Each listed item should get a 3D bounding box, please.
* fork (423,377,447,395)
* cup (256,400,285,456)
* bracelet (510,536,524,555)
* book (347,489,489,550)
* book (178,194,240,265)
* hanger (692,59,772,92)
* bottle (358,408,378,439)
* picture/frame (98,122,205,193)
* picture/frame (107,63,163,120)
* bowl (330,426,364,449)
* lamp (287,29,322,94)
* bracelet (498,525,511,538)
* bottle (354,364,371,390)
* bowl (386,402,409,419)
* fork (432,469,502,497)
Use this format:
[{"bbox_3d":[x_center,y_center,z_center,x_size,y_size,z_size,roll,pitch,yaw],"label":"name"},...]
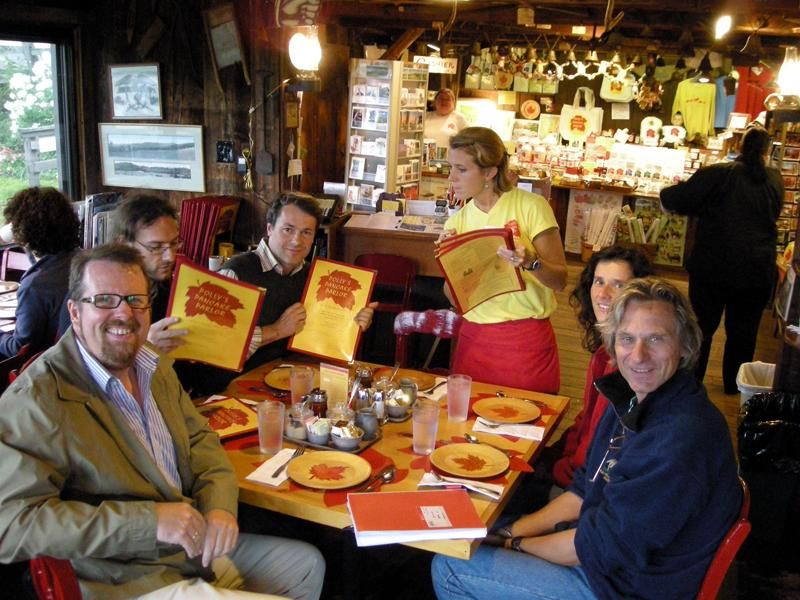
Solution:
[{"bbox_3d":[0.170,0.419,2.959,0.044,0.021,0.144,17,18,16],"label":"fork"},{"bbox_3d":[-0.509,0.509,2.381,0.147,0.170,0.144,1,-1,0],"label":"cup"},{"bbox_3d":[0.428,0.911,2.254,0.057,0.055,0.040,4,5,28],"label":"bracelet"},{"bbox_3d":[0.046,0.706,1.961,0.332,0.044,0.226,0,17,-7],"label":"book"},{"bbox_3d":[-1.724,-0.635,5.417,0.299,0.689,0.750,17,17,15],"label":"book"},{"bbox_3d":[4.671,-3.142,8.450,1.285,0.298,1.151,7,17,16],"label":"hanger"},{"bbox_3d":[-0.132,0.506,2.456,0.100,0.116,0.104,-1,-4,0],"label":"bottle"},{"bbox_3d":[-2.486,-1.422,6.028,1.182,0.662,0.035,5,8,14],"label":"picture/frame"},{"bbox_3d":[-2.560,-2.046,5.872,0.557,0.521,0.041,5,17,11],"label":"picture/frame"},{"bbox_3d":[-0.209,0.532,2.388,0.097,0.047,0.096,-1,1,0],"label":"bowl"},{"bbox_3d":[-0.798,-2.025,5.089,0.323,0.515,0.310,-20,33,-34],"label":"lamp"},{"bbox_3d":[0.404,0.903,2.355,0.045,0.042,0.014,4,-3,1],"label":"bracelet"},{"bbox_3d":[-0.173,0.352,2.673,0.081,0.100,0.079,-2,0,0],"label":"bottle"},{"bbox_3d":[-0.004,0.478,2.638,0.076,0.040,0.074,1,-2,0],"label":"bowl"},{"bbox_3d":[0.263,0.666,2.163,0.301,0.049,0.078,9,25,9],"label":"fork"}]
